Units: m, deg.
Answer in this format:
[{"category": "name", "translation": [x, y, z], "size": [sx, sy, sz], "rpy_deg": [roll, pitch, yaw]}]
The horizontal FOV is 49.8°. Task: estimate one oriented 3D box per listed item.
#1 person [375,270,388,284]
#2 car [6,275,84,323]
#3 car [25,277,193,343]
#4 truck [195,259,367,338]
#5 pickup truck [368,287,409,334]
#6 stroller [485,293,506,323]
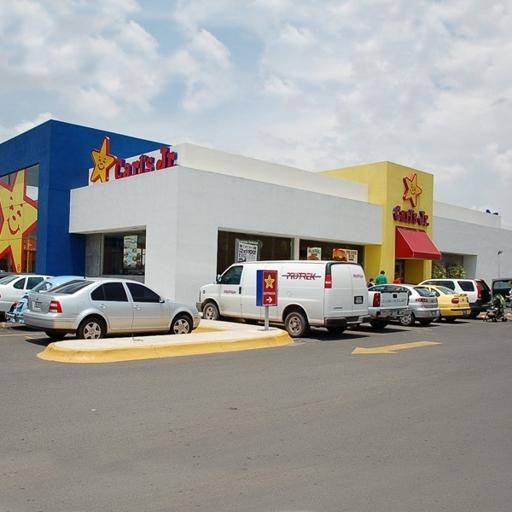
[{"category": "person", "translation": [5.876, 0.985, 25.730], "size": [0.405, 1.059, 0.295], "rpy_deg": [10, 3, 33]}, {"category": "car", "translation": [-5.675, 1.061, 14.152], "size": [2.478, 1.003, 1.231], "rpy_deg": [0, -1, -9]}, {"category": "car", "translation": [-3.283, 1.198, 12.745], "size": [3.454, 1.361, 1.084], "rpy_deg": [5, -8, -43]}, {"category": "truck", "translation": [0.937, 0.884, 15.845], "size": [4.130, 1.806, 2.066], "rpy_deg": [2, -1, 43]}, {"category": "pickup truck", "translation": [4.100, 1.711, 17.574], "size": [0.996, 0.952, 1.894], "rpy_deg": [-1, 3, -30]}, {"category": "stroller", "translation": [9.842, 2.190, 22.658], "size": [0.598, 0.822, 1.330], "rpy_deg": [1, 3, 25]}]
